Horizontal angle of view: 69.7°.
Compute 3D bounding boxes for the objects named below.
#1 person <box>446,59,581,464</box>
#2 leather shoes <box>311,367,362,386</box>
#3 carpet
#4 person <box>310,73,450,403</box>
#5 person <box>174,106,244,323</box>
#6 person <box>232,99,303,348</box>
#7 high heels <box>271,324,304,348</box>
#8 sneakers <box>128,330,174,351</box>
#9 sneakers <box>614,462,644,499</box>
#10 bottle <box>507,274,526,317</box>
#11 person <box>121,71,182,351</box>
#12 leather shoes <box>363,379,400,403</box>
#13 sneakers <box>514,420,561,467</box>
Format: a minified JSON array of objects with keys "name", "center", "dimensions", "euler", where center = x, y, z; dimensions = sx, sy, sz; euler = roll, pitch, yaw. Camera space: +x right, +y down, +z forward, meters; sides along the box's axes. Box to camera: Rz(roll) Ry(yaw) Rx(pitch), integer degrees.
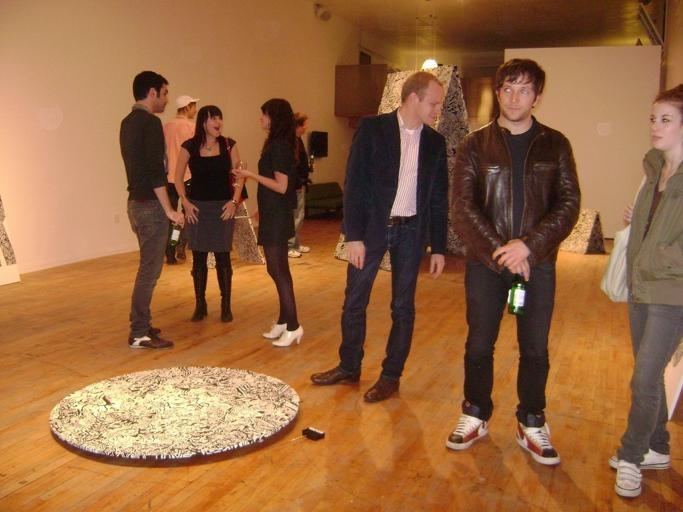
[{"name":"person","center":[0.833,0.029,2.423],"dimensions":[0.607,1.936,0.361],"euler":[4,11,13]},{"name":"leather shoes","center":[-0.041,0.786,3.230],"dimensions":[0.340,0.137,0.125],"euler":[3,3,-7]},{"name":"carpet","center":[-0.925,0.865,2.767],"dimensions":[1.356,0.092,0.870],"euler":[1,12,0]},{"name":"person","center":[0.265,-0.104,2.951],"dimensions":[0.747,1.936,0.416],"euler":[2,11,6]},{"name":"person","center":[-1.094,-0.354,4.074],"dimensions":[0.578,1.755,0.456],"euler":[0,15,-14]},{"name":"person","center":[-0.504,-0.242,3.723],"dimensions":[0.374,1.866,0.361],"euler":[-3,12,-18]},{"name":"high heels","center":[-0.429,0.626,3.831],"dimensions":[0.236,0.117,0.128],"euler":[-11,26,-6]},{"name":"sneakers","center":[-1.452,0.645,3.779],"dimensions":[0.342,0.140,0.129],"euler":[0,6,-4]},{"name":"sneakers","center":[1.302,1.005,2.234],"dimensions":[0.076,0.081,0.203],"euler":[2,9,17]},{"name":"bottle","center":[0.845,0.185,2.361],"dimensions":[0.067,0.187,0.093],"euler":[5,12,16]},{"name":"person","center":[-1.422,-0.326,3.648],"dimensions":[0.437,2.040,0.474],"euler":[-4,12,-25]},{"name":"leather shoes","center":[0.247,0.823,3.047],"dimensions":[0.248,0.100,0.089],"euler":[-11,18,-41]},{"name":"sneakers","center":[0.981,0.943,2.470],"dimensions":[0.092,0.119,0.275],"euler":[-6,3,-8]}]
